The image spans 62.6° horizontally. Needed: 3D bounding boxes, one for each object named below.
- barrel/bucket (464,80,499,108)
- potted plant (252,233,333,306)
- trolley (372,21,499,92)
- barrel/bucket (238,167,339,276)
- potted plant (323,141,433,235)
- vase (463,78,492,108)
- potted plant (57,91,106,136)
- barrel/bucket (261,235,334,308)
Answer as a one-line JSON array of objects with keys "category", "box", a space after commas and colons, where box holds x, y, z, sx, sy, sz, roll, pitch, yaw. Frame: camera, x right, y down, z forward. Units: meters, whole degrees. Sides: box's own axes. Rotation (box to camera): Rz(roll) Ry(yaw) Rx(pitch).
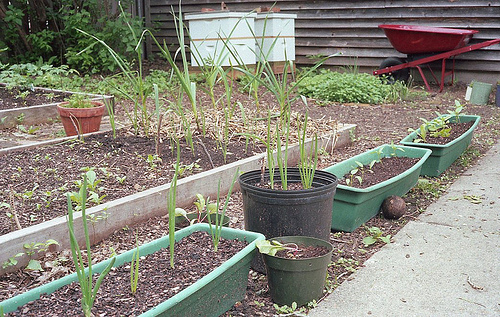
[{"category": "barrel/bucket", "box": [3.791, -1.083, 6.890, 0.429, 0.454, 0.437, 13, 12, -3]}, {"category": "potted plant", "box": [0.279, 0.744, 2.841, 0.471, 0.338, 0.461, -8, 11, -40]}, {"category": "trolley", "box": [3.510, -1.940, 7.344, 2.475, 1.223, 0.962, 10, 25, 39]}, {"category": "barrel/bucket", "box": [0.238, 0.437, 3.176, 0.775, 0.603, 0.676, -2, 9, -9]}, {"category": "potted plant", "box": [1.183, 0.251, 3.784, 0.578, 0.352, 1.276, 17, 33, 39]}, {"category": "vase", "box": [3.816, -1.087, 6.799, 0.284, 0.312, 0.285, 5, 17, 0]}, {"category": "potted plant", "box": [-1.950, -0.494, 4.732, 0.564, 0.463, 0.482, 9, 20, 31]}, {"category": "barrel/bucket", "box": [0.289, 0.782, 2.812, 0.458, 0.341, 0.456, 1, 12, 0]}]
